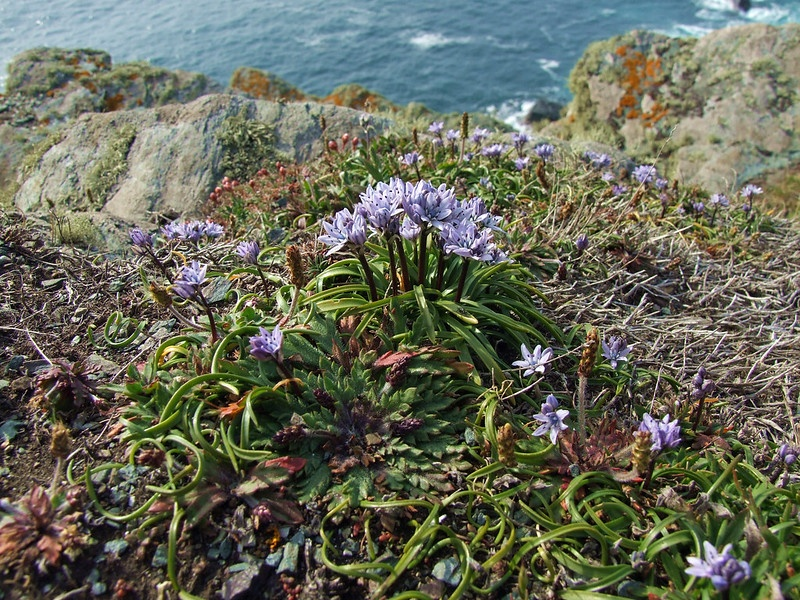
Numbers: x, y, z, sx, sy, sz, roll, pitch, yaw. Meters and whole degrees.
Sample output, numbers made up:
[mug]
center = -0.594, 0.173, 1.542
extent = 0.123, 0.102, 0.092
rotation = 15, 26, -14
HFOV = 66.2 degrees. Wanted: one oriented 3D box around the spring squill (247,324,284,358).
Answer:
[spring squill]
center = -0.983, 0.315, 4.526
extent = 0.221, 0.184, 0.209
rotation = -2, 44, -4
